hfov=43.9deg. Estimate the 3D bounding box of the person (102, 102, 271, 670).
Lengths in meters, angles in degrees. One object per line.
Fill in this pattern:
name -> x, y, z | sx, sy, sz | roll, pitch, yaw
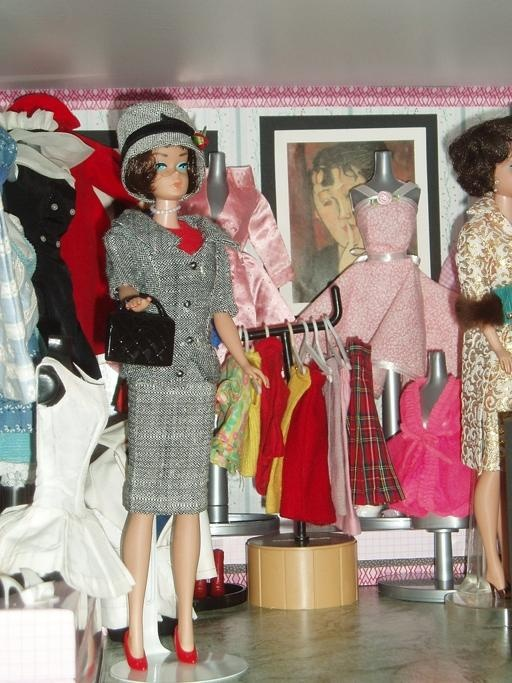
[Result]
person -> -0.231, 0.107, 1.742 | 0.273, 1.532, 0.454 | -4, -2, 35
